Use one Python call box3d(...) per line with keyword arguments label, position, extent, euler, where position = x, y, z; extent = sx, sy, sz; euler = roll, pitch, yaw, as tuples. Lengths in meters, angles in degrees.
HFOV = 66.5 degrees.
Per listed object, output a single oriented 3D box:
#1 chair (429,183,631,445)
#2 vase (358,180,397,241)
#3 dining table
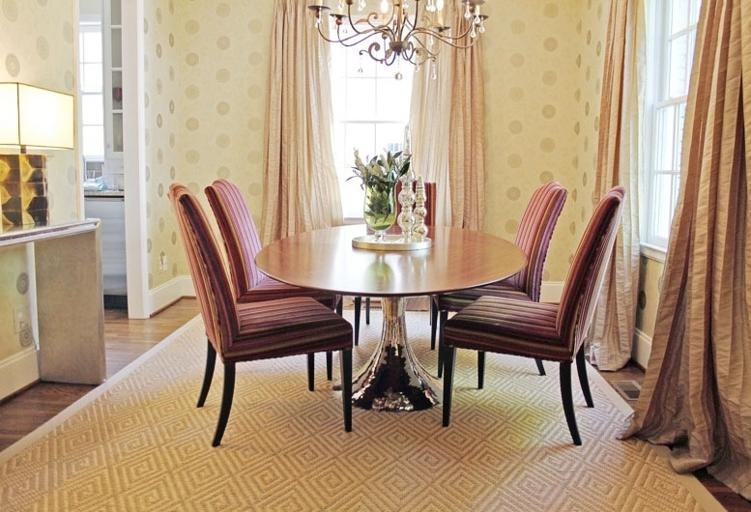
box3d(label="chair", position=(0.993, 0.201, 3.930), extent=(1.268, 2.057, 1.148), euler=(4, 8, 23))
box3d(label="vase", position=(0.029, -0.302, 3.707), extent=(0.215, 0.333, 0.202), euler=(3, 12, 9))
box3d(label="dining table", position=(0.022, 0.320, 3.309), extent=(1.177, 0.712, 1.188), euler=(-7, 10, -30))
